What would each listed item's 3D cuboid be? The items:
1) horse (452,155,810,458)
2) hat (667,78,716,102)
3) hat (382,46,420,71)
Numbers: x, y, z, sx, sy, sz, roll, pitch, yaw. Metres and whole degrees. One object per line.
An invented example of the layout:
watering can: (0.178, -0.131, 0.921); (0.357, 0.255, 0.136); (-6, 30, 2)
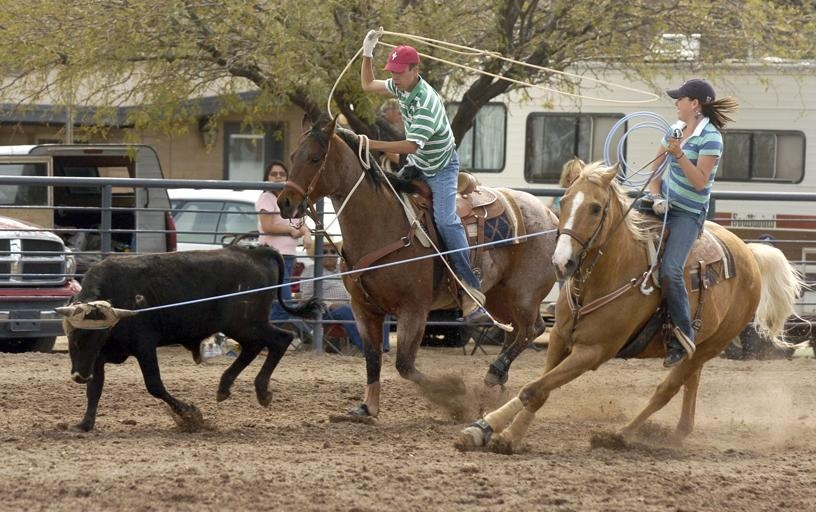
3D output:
horse: (2.899, 0.694, 16.932); (5.889, 3.543, 1.427); (0, 11, -43)
hat: (3.315, -1.936, 16.170); (0.457, 0.216, 0.281); (11, 3, 8)
hat: (-0.076, -2.363, 16.472); (0.380, 0.206, 0.260); (-21, 28, -33)
